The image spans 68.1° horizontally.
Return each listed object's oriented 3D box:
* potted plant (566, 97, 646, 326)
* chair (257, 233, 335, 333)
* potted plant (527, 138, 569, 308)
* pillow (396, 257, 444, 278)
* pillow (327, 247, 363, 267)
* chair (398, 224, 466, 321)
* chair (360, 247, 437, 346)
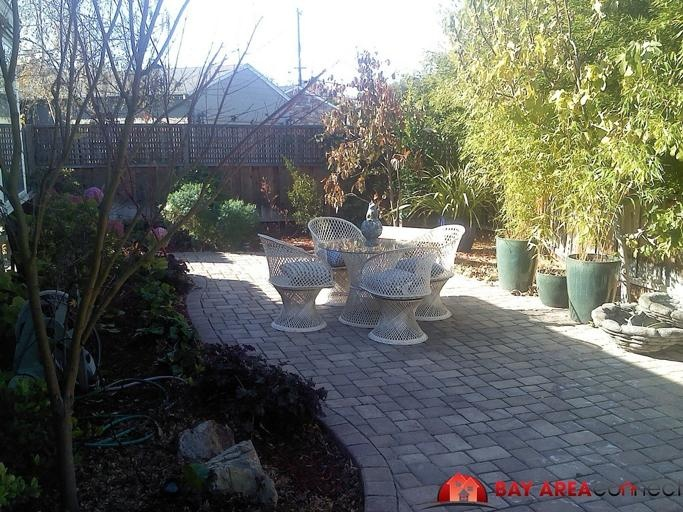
[{"bbox_3d":[3.157,-0.433,5.946,1.087,2.362,0.666,-11,16,-43],"label":"potted plant"},{"bbox_3d":[-0.458,0.187,6.040,0.872,1.386,1.015,-4,9,-20],"label":"chair"},{"bbox_3d":[2.773,-0.460,6.754,0.550,2.050,1.652,5,13,21],"label":"potted plant"},{"bbox_3d":[0.798,0.157,5.309,0.383,0.140,0.302,7,16,13],"label":"pillow"},{"bbox_3d":[-0.030,0.006,6.220,0.258,0.277,0.259,-8,16,-15],"label":"pillow"},{"bbox_3d":[1.122,0.218,6.203,0.710,1.134,0.829,-3,-6,-18],"label":"chair"},{"bbox_3d":[0.587,0.351,5.517,0.718,1.092,0.774,-11,11,-32],"label":"chair"}]
